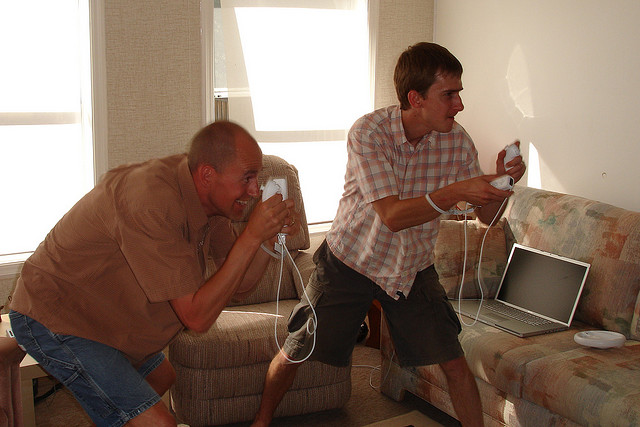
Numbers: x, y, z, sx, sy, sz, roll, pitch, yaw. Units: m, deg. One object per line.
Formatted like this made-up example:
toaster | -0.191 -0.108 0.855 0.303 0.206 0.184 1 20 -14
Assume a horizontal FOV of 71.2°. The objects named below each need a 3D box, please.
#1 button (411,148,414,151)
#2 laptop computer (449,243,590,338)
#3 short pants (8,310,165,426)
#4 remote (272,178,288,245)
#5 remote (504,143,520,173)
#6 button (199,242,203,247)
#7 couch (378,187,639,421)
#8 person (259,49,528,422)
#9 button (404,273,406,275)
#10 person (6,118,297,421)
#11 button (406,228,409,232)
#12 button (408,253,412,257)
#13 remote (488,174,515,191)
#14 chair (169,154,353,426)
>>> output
button | 0.447 -0.316 2.178 0.012 0.005 0.017 -1 -6 32
laptop computer | 1.160 0.450 2.646 0.508 0.365 0.579 -3 6 -19
short pants | -0.821 0.507 1.708 0.522 0.338 0.163 37 48 1
remote | -0.168 -0.009 1.864 0.068 0.278 0.065 1 -5 -4
remote | 0.870 -0.253 2.026 0.062 0.119 0.076 4 14 23
button | -0.464 0.121 1.731 0.015 0.020 0.006 -7 3 3
couch | 1.017 0.513 2.378 0.657 0.857 1.204 -1 9 -21
person | 0.338 0.199 2.220 1.207 1.953 0.526 1 13 11
button | 0.413 0.295 2.182 0.009 0.010 0.017 3 -8 10
person | -0.627 0.206 1.661 1.006 1.068 0.432 1 13 13
button | 0.419 0.079 2.129 0.017 0.017 0.004 0 3 -14
button | 0.439 0.203 2.169 0.020 0.021 0.002 -10 15 -33
remote | 0.726 -0.125 1.780 0.033 0.047 0.082 -31 16 -38
chair | -0.450 0.325 3.062 1.315 1.824 1.387 -2 14 -11
